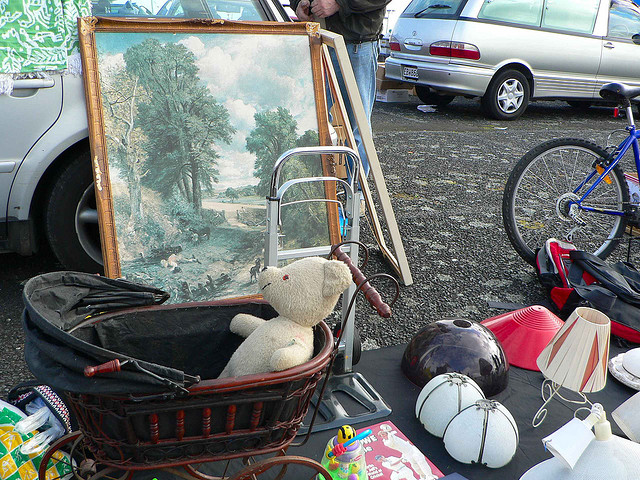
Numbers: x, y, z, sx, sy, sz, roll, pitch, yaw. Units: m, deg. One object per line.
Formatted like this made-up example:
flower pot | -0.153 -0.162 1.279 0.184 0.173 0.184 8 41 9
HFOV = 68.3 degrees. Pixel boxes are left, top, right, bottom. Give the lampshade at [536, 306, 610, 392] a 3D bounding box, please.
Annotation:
lampshade | 1.099 0.481 2.029 0.269 0.308 0.148 15 23 30

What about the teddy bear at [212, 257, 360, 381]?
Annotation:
teddy bear | -0.104 0.350 1.843 0.470 0.495 0.396 -10 23 -31

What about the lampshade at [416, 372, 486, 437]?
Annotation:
lampshade | 0.562 0.732 2.205 0.294 0.255 0.284 3 4 -10

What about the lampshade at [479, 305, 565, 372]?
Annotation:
lampshade | 1.159 0.530 2.695 0.381 0.144 0.369 8 23 23

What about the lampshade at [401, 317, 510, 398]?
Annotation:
lampshade | 0.750 0.596 2.575 0.577 0.296 0.564 10 12 34

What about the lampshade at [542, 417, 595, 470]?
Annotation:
lampshade | 0.864 0.707 1.632 0.176 0.176 0.096 -12 25 -34
